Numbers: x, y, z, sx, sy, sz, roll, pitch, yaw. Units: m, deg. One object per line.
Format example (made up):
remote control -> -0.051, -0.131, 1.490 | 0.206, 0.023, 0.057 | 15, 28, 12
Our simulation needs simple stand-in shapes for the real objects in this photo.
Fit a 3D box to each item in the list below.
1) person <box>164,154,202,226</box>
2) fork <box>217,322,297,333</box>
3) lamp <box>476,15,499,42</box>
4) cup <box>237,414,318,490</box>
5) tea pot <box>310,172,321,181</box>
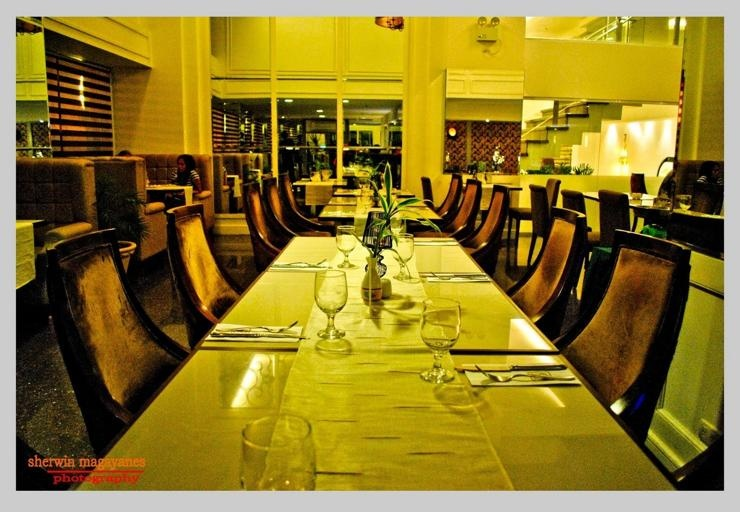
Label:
person -> -3.073, -1.123, 8.058 | 0.608, 1.025, 0.609 | 0, 3, 32
fork -> -0.412, 0.260, 1.802 | 0.163, 0.027, 0.089 | 0, 2, -2
lamp -> 1.928, -3.700, 8.152 | 0.373, 0.384, 0.240 | 4, 15, 8
cup -> -0.193, 0.425, 1.084 | 0.160, 0.136, 0.122 | -1, 3, -6
tea pot -> -0.869, -1.283, 8.097 | 0.151, 0.121, 0.158 | -1, 2, 0
